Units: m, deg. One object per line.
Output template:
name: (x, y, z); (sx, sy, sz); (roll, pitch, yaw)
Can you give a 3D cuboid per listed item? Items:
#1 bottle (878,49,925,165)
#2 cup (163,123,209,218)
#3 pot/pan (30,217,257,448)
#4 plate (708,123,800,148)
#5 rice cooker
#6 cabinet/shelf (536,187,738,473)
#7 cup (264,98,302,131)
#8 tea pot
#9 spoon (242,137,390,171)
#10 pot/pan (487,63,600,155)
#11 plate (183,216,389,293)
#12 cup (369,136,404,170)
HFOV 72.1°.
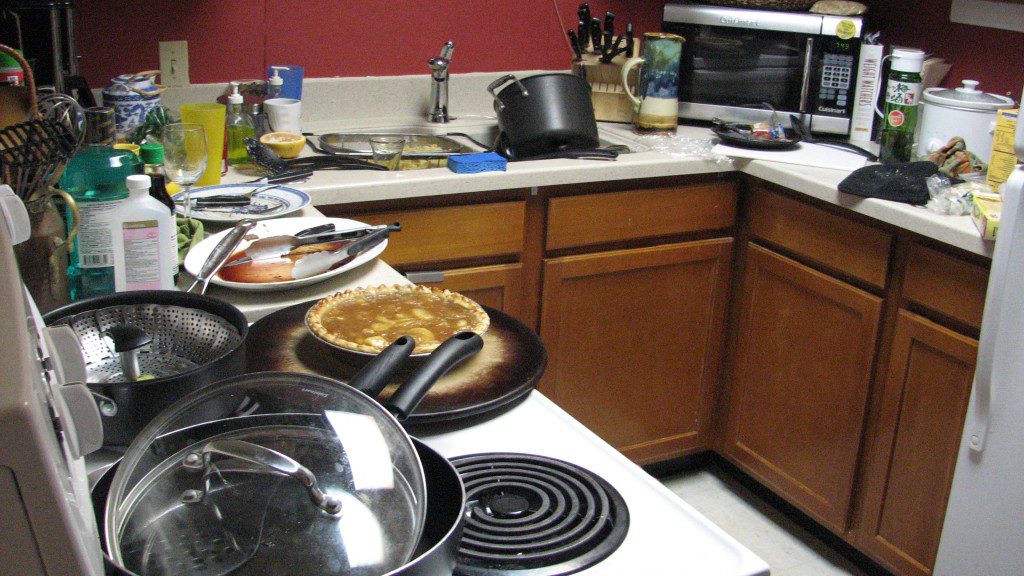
bottle: (1.343, -0.621, 2.471); (0.162, 0.439, 0.140); (2, 3, -13)
cup: (-0.778, -0.275, 1.703); (0.094, 0.233, 0.093); (5, 3, 0)
pot/pan: (-0.586, 0.059, 1.183); (0.334, 0.240, 0.390); (-4, 21, -25)
plate: (0.887, -0.548, 2.557); (0.194, 0.025, 0.154); (-3, 23, -17)
rice cooker: (1.485, -0.556, 2.335); (0.277, 0.251, 0.267); (13, 27, 28)
cabinet/shelf: (0.464, 0.157, 2.563); (0.838, 1.041, 0.234); (-9, 27, -18)
cup: (-0.762, -0.581, 2.347); (0.136, 0.087, 0.107); (-2, 18, -16)
tea pot: (0.538, -0.766, 2.617); (0.237, 0.420, 0.179); (7, 2, 19)
spoon: (-0.596, -0.408, 2.231); (0.468, 0.089, 0.138); (-3, 10, -24)
pot/pan: (0.103, -0.607, 2.518); (0.307, 0.211, 0.346); (-8, -15, -23)
plate: (-0.497, -0.064, 1.537); (0.298, 0.033, 0.221); (-9, 25, -17)
cup: (-0.388, -0.446, 2.295); (0.132, 0.114, 0.117); (-1, 13, -4)
